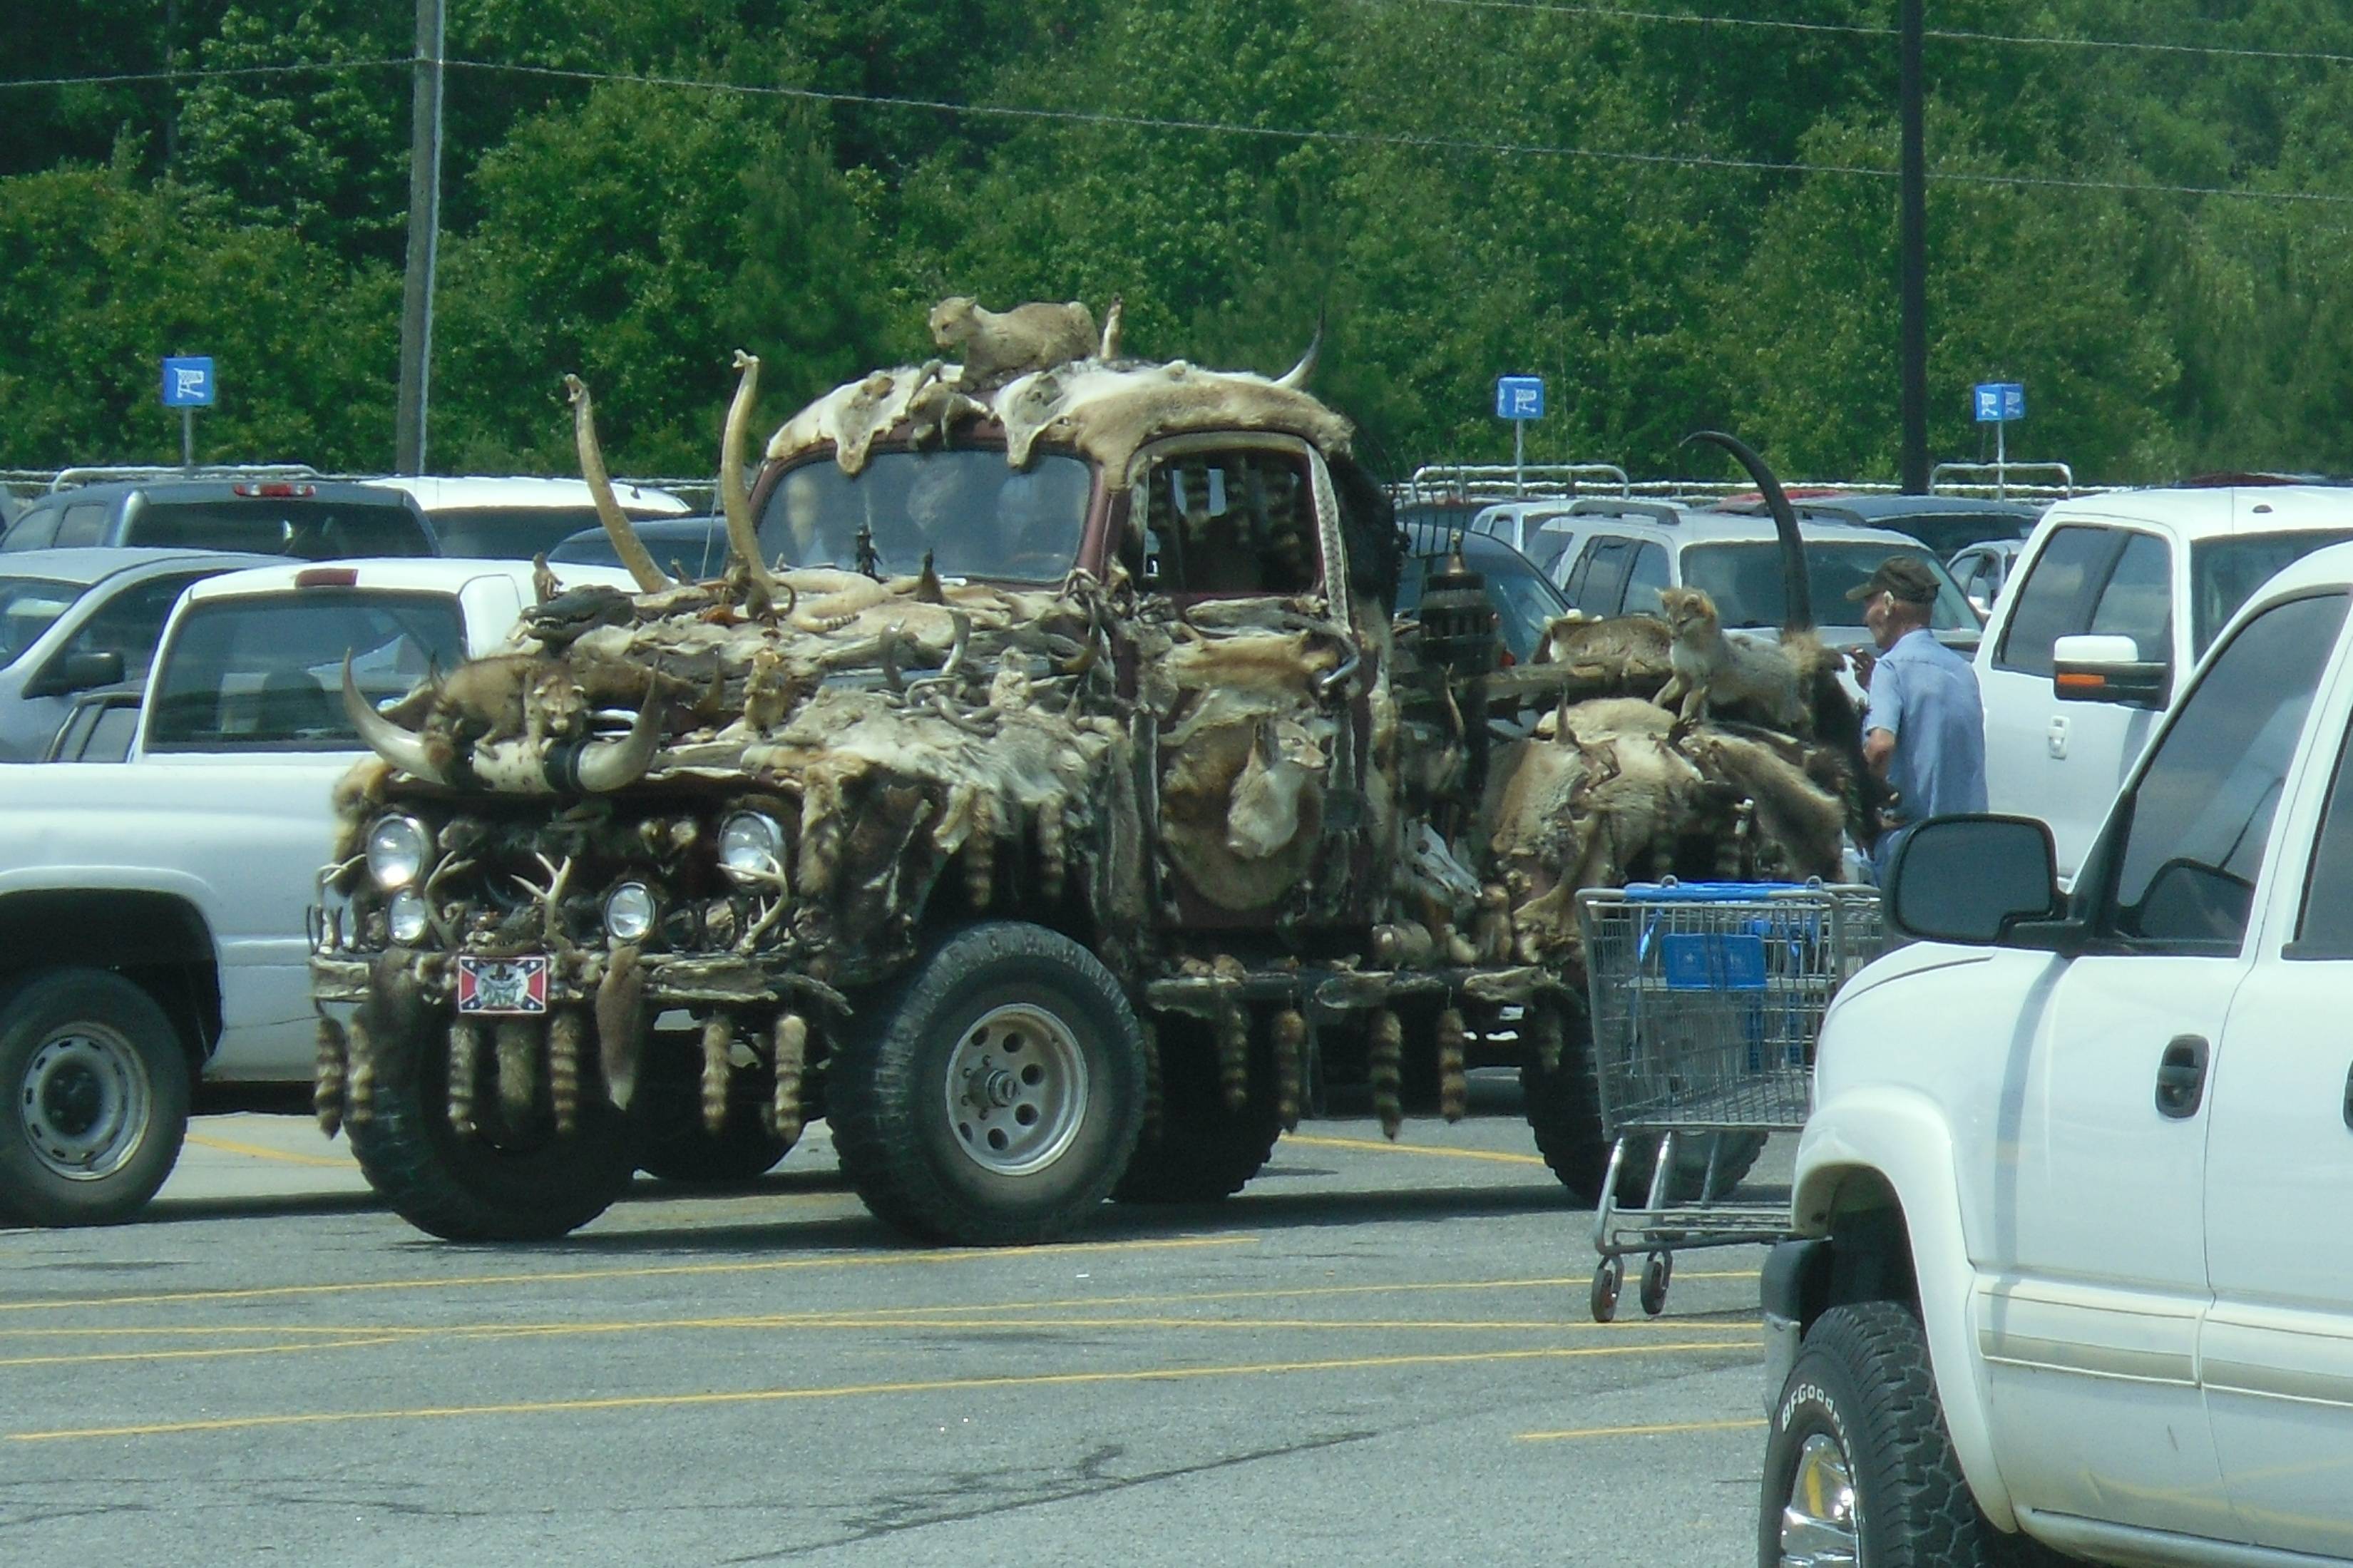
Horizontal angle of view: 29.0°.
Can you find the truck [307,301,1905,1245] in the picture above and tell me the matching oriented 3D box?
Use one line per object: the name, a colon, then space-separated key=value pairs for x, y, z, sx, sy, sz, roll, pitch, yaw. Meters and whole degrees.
truck: x=-0.144 y=0.017 z=21.115 sx=7.810 sy=3.809 sz=3.755 roll=-2 pitch=3 yaw=-44
